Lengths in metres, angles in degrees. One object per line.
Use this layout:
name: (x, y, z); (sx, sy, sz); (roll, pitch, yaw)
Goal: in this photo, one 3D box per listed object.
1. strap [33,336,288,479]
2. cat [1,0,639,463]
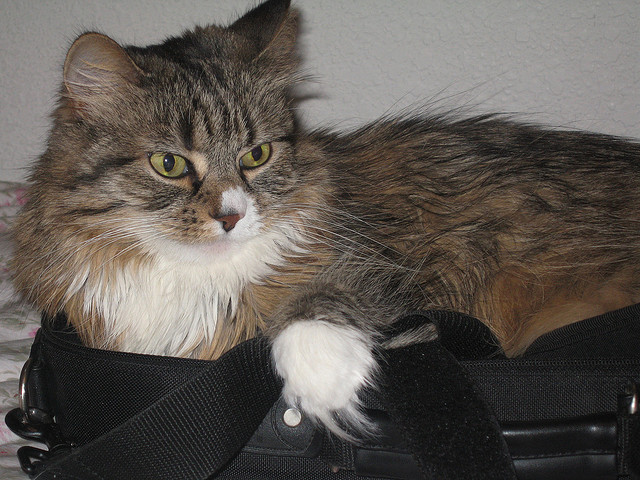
strap: (-0.181, 0.219, 0.809); (0.253, 0.080, 0.171); (-30, 10, 0)
cat: (0.081, -0.048, 1.018); (0.926, 0.340, 0.715); (-1, -4, -38)
